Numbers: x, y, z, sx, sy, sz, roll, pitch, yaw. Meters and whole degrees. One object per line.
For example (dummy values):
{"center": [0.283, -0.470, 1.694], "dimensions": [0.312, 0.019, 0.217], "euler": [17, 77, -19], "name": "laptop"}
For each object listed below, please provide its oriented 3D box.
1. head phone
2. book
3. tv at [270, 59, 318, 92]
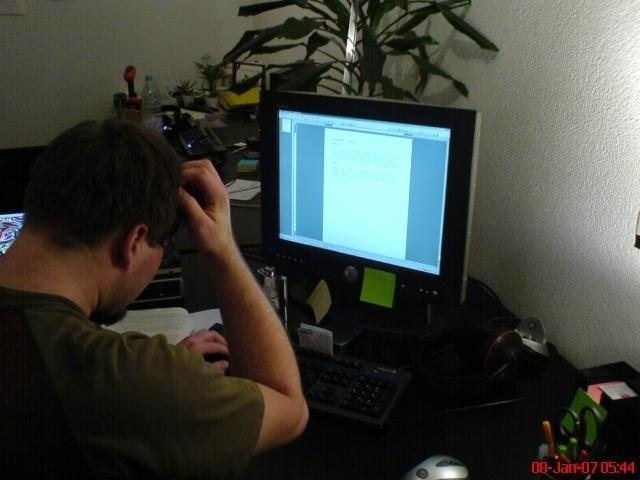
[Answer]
{"center": [0.349, 0.270, 1.306], "dimensions": [0.244, 0.134, 0.154], "euler": [2, 21, 5], "name": "head phone"}
{"center": [-0.420, 0.220, 1.489], "dimensions": [0.197, 0.044, 0.146], "euler": [-1, 29, -10], "name": "book"}
{"center": [-0.099, -0.609, 2.041], "dimensions": [0.169, 0.088, 0.297], "euler": [0, 23, -1], "name": "tv"}
